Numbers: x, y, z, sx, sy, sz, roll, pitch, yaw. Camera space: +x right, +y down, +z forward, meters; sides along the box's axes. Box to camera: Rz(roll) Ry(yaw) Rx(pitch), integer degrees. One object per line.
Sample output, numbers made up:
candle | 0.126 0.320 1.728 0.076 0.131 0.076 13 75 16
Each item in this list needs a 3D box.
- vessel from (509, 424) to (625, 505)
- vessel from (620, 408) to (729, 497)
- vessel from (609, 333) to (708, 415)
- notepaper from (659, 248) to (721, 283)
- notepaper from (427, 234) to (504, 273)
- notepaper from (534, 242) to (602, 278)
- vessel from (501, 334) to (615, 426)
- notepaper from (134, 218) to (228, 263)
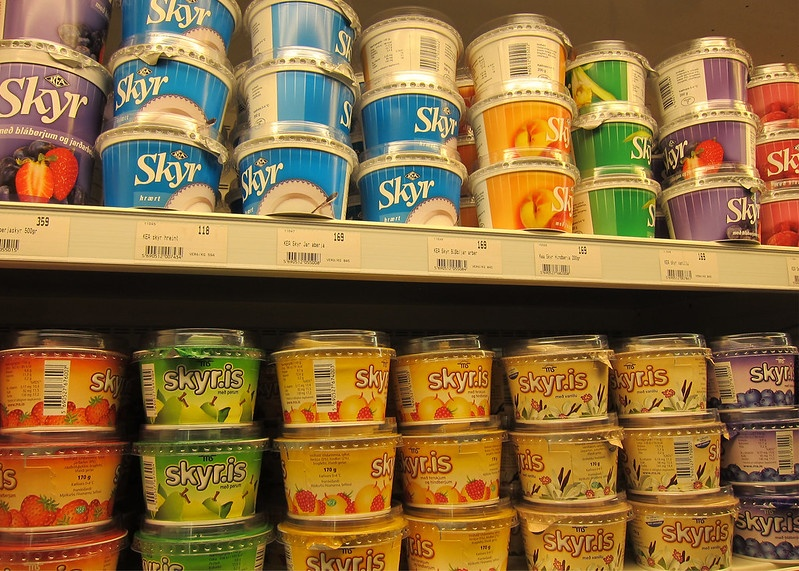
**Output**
vessel | 0.473 0.493 2.090 0.356 0.224 0.358 -2 -8 0
vessel | 0.781 0.469 2.131 0.320 0.225 0.344 -4 -4 25
vessel | 0.714 0.255 2.069 0.241 0.186 0.237 7 -11 -32
notepaper | 0.810 -0.046 2.052 0.121 0.112 0.027 4 -15 -10
notepaper | 0.156 -0.069 1.977 0.239 0.114 0.131 3 -11 -23
notepaper | 0.453 -0.061 1.977 0.179 0.087 0.097 1 -5 -12
vessel | 0.430 0.264 2.005 0.235 0.165 0.253 1 -10 -22
notepaper | -0.529 -0.103 1.801 0.186 0.113 0.044 3 -8 -8
